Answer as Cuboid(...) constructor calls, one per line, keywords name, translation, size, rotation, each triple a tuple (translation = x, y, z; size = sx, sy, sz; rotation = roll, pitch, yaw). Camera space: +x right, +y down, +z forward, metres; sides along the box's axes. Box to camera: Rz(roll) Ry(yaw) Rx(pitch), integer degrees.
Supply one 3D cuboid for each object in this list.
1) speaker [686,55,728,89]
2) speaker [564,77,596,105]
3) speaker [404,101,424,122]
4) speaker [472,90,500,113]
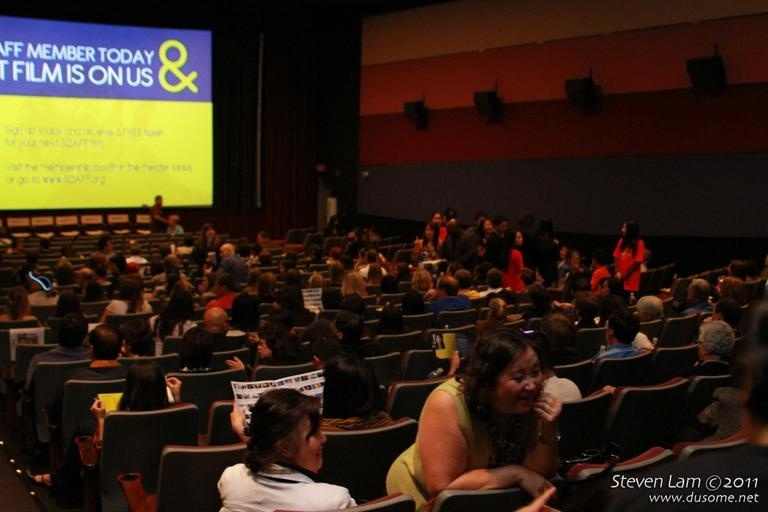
Cuboid(name="speaker", translation=(5.748, -3.281, 10.342), size=(0.324, 0.592, 0.572), rotation=(-31, 18, -34))
Cuboid(name="speaker", translation=(3.973, -3.377, 11.931), size=(0.367, 0.614, 0.559), rotation=(-44, 43, -21))
Cuboid(name="speaker", translation=(0.830, -3.820, 15.396), size=(0.606, 0.523, 0.287), rotation=(-5, 1, 33))
Cuboid(name="speaker", translation=(2.388, -3.543, 13.632), size=(0.516, 0.422, 0.525), rotation=(-6, 6, -27))
